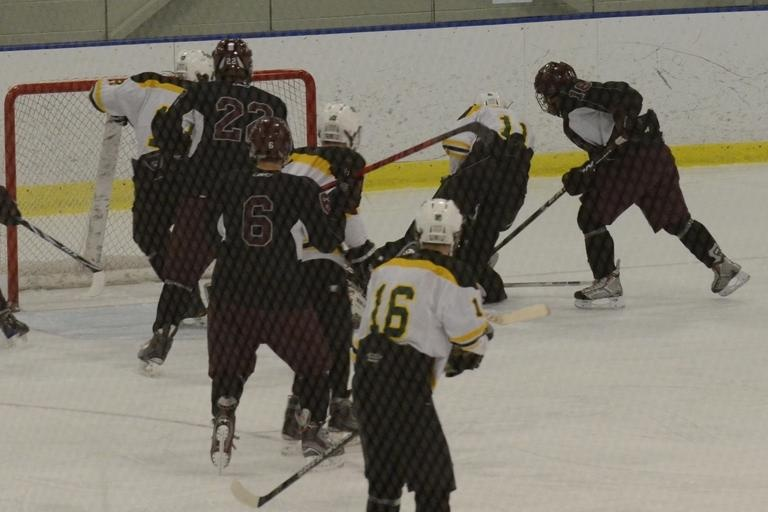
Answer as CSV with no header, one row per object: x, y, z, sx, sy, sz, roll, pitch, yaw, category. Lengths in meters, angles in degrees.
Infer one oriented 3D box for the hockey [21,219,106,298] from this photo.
-2.437,0.054,8.996,0.790,0.232,0.155,38,17,3,hockey

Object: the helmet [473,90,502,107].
0.727,-1.079,8.262,0.168,0.094,0.235,-1,5,-6,helmet

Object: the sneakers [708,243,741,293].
2.348,0.098,8.093,0.273,0.360,0.234,2,6,3,sneakers

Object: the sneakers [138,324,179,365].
-1.409,0.563,7.486,0.122,0.267,0.201,13,-16,37,sneakers

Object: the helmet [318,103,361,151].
-0.208,-0.775,7.239,0.250,0.250,0.290,8,8,11,helmet

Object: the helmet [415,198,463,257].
0.312,-0.167,6.491,0.267,0.298,0.310,4,-23,4,helmet

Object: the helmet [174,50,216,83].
-1.208,-1.231,7.902,0.290,0.208,0.259,-3,6,11,helmet

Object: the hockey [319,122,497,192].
0.204,-0.732,8.537,1.500,0.201,0.221,-23,17,2,hockey

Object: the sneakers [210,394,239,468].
-0.911,1.008,6.748,0.149,0.417,0.239,1,6,-8,sneakers

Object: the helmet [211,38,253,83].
-0.915,-1.198,7.316,0.237,0.268,0.276,0,8,-5,helmet
